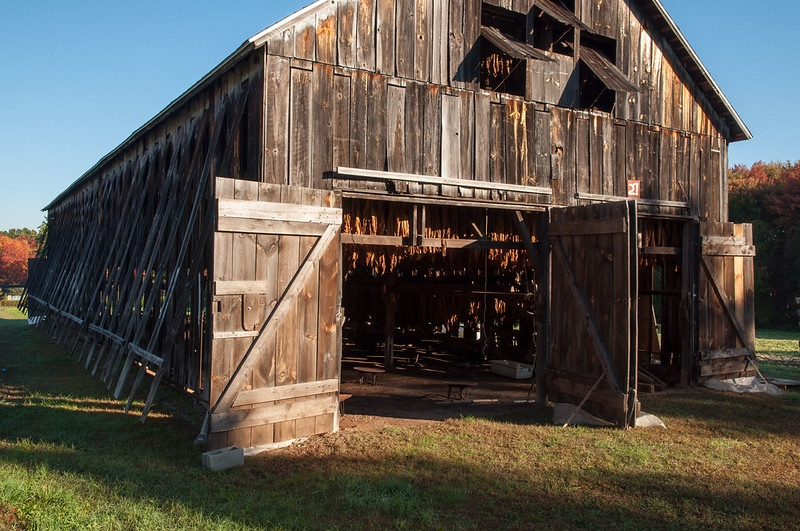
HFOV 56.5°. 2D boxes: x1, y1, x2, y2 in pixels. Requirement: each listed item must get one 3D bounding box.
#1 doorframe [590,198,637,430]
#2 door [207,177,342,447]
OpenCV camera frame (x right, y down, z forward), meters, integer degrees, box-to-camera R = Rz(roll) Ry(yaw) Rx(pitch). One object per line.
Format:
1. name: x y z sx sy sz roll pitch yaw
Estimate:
1. doorframe: 4.677 0.974 15.652 0.465 4.742 0.796 -2 4 -41
2. door: -2.467 0.905 14.729 2.432 5.475 0.551 -4 25 -20
